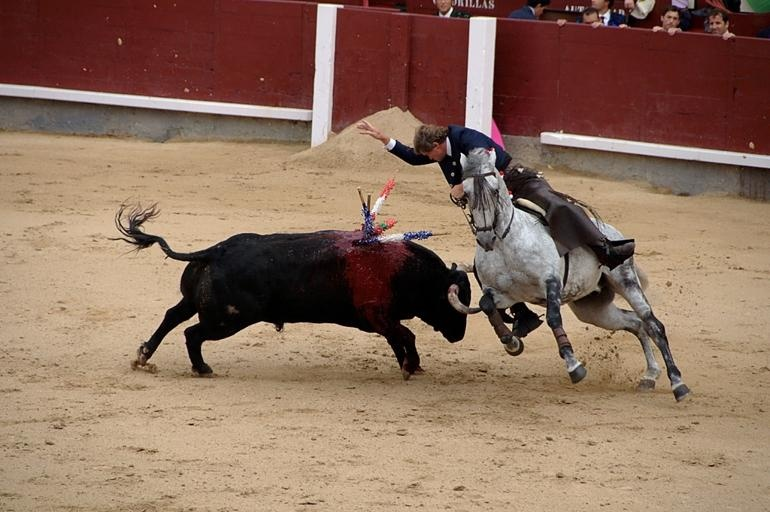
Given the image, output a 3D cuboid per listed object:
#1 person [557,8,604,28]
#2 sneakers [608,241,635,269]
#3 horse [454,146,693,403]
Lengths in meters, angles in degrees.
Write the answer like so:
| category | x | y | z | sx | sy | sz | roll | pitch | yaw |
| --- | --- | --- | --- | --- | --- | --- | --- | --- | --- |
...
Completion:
| category | x | y | z | sx | sy | sz | roll | pitch | yaw |
| --- | --- | --- | --- | --- | --- | --- | --- | --- | --- |
| person | 3.005 | -3.587 | 18.102 | 0.700 | 0.300 | 0.755 | 5 | 11 | 19 |
| sneakers | 2.244 | -0.026 | 11.307 | 0.280 | 0.181 | 0.206 | -2 | -1 | -12 |
| horse | 1.800 | 0.322 | 11.751 | 0.928 | 1.904 | 3.490 | -11 | -19 | 39 |
